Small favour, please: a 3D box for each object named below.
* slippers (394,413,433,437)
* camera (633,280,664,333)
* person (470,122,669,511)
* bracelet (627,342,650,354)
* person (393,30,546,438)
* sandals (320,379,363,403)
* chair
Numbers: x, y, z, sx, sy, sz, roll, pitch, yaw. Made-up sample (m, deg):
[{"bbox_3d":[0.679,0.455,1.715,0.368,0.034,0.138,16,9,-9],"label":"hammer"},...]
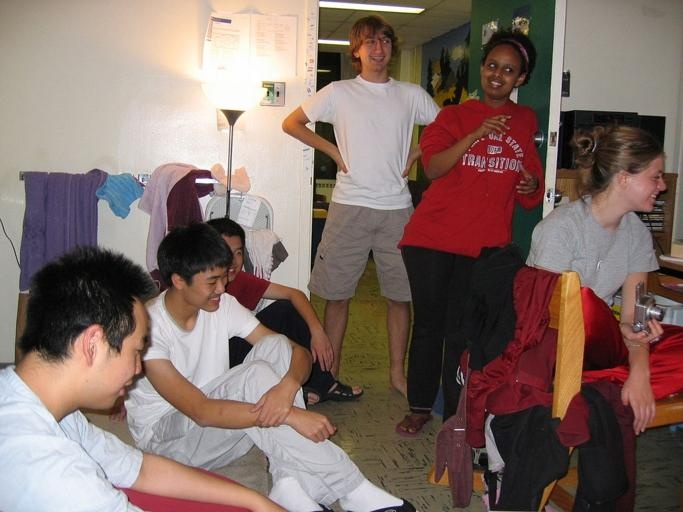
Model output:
[{"bbox_3d":[0.354,0.850,2.800,0.167,0.062,0.093,-14,21,-36],"label":"slippers"},{"bbox_3d":[1.109,0.201,1.971,0.106,0.180,0.093,-27,27,-37],"label":"camera"},{"bbox_3d":[1.014,0.313,2.199,0.590,1.523,0.569,4,5,35],"label":"person"},{"bbox_3d":[1.038,0.319,1.909,0.052,0.051,0.054,0,9,12],"label":"bracelet"},{"bbox_3d":[0.615,-0.091,2.584,0.695,2.010,0.619,6,1,-1],"label":"person"},{"bbox_3d":[0.002,0.760,3.122,0.274,0.104,0.102,-2,14,-4],"label":"sandals"},{"bbox_3d":[0.693,0.335,2.361,0.882,1.327,0.723,0,6,-14],"label":"chair"}]
